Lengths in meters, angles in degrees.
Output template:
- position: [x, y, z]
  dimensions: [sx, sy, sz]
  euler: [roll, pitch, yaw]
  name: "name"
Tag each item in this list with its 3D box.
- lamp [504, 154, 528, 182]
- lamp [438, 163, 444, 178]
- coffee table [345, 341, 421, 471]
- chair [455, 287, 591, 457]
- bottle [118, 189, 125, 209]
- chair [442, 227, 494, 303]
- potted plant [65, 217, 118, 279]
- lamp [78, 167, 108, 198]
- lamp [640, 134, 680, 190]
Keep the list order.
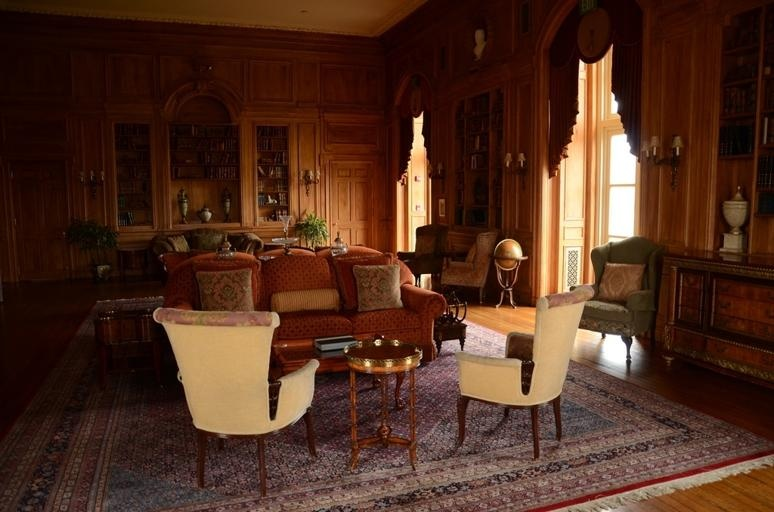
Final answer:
- position: [2.245, -1.543, 8.975]
  dimensions: [0.288, 0.471, 0.534]
  euler: [-1, 3, -27]
  name: "lamp"
- position: [1.150, -1.822, 11.004]
  dimensions: [0.145, 0.302, 0.071]
  euler: [3, 12, 19]
  name: "lamp"
- position: [-0.049, 1.186, 4.688]
  dimensions: [0.670, 0.893, 1.188]
  euler: [-1, 11, 0]
  name: "coffee table"
- position: [1.394, 0.905, 5.171]
  dimensions: [1.406, 1.945, 1.303]
  euler: [3, 4, 36]
  name: "chair"
- position: [-6.130, -1.309, 11.963]
  dimensions: [0.149, 0.378, 0.148]
  euler: [-1, 11, 0]
  name: "bottle"
- position: [1.567, 0.177, 9.714]
  dimensions: [1.171, 1.436, 1.080]
  euler: [2, -1, 7]
  name: "chair"
- position: [-6.708, -0.238, 11.676]
  dimensions: [1.429, 1.538, 0.960]
  euler: [-1, 1, -35]
  name: "potted plant"
- position: [-6.681, -1.701, 11.698]
  dimensions: [0.679, 0.705, 0.202]
  euler: [-2, 20, -14]
  name: "lamp"
- position: [3.546, -1.224, 6.722]
  dimensions: [0.166, 0.666, 0.501]
  euler: [-8, 13, -33]
  name: "lamp"
